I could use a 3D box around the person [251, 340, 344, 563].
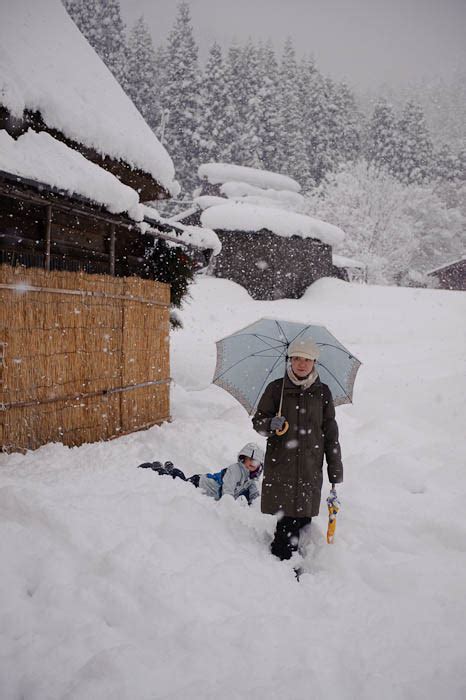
[{"bbox_3d":[0.487,0.763,4.563,0.738,1.211,0.395,6,4,-22],"label":"person"}]

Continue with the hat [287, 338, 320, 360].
[{"bbox_3d":[0.529,-0.008,4.446,0.190,0.115,0.180,6,5,-25],"label":"hat"}]

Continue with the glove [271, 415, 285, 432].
[{"bbox_3d":[0.324,0.541,4.315,0.083,0.086,0.091,10,5,25],"label":"glove"}]
